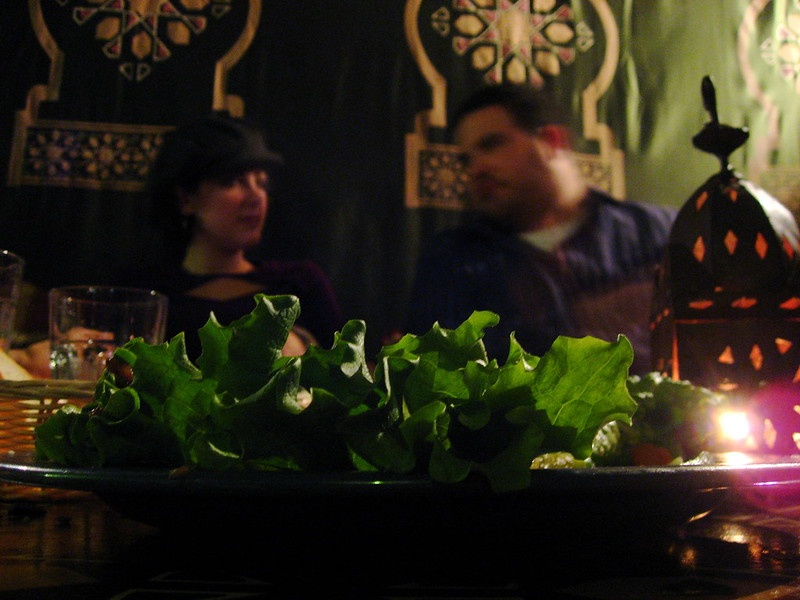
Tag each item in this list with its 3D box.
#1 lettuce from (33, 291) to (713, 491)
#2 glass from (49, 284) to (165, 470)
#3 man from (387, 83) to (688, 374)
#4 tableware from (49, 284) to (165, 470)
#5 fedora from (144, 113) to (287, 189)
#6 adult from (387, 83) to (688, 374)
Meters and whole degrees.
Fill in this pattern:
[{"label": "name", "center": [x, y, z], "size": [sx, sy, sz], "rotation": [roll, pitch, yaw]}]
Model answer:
[{"label": "lettuce", "center": [-0.062, 0.072, 0.780], "size": [0.512, 0.152, 0.125], "rotation": [1, 8, 4]}, {"label": "glass", "center": [-0.405, 0.084, 1.277], "size": [0.155, 0.162, 0.163], "rotation": [6, -7, -44]}, {"label": "man", "center": [0.426, -0.180, 2.629], "size": [0.932, 0.800, 0.463], "rotation": [-5, -2, 2]}, {"label": "tableware", "center": [-0.388, 0.077, 1.191], "size": [0.155, 0.162, 0.163], "rotation": [6, -7, -44]}, {"label": "fedora", "center": [-0.493, -0.384, 2.324], "size": [0.249, 0.100, 0.175], "rotation": [-8, 12, 6]}, {"label": "adult", "center": [0.436, -0.183, 2.617], "size": [0.930, 0.782, 0.476], "rotation": [-5, -2, 7]}]
